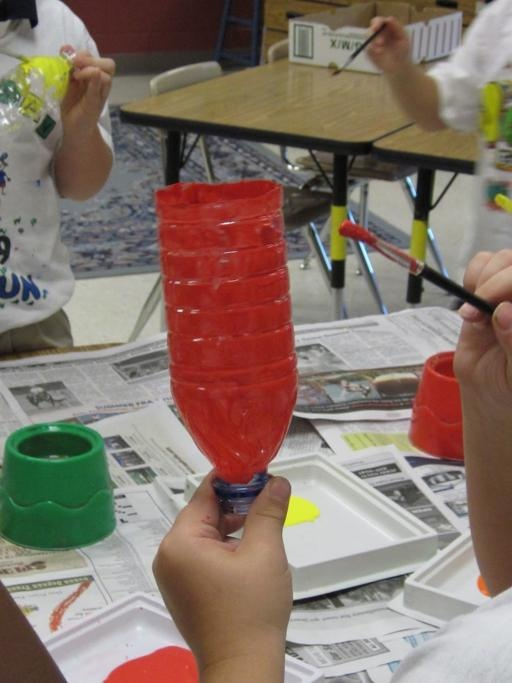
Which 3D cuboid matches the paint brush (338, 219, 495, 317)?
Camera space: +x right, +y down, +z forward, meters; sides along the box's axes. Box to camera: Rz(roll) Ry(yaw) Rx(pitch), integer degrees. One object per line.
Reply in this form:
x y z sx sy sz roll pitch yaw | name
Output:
0.130 -0.042 0.439 0.152 0.013 0.013 31 51 9 | paint brush

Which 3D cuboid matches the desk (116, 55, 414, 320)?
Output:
0.201 -0.400 1.992 0.604 0.434 0.664 0 7 34 | desk
